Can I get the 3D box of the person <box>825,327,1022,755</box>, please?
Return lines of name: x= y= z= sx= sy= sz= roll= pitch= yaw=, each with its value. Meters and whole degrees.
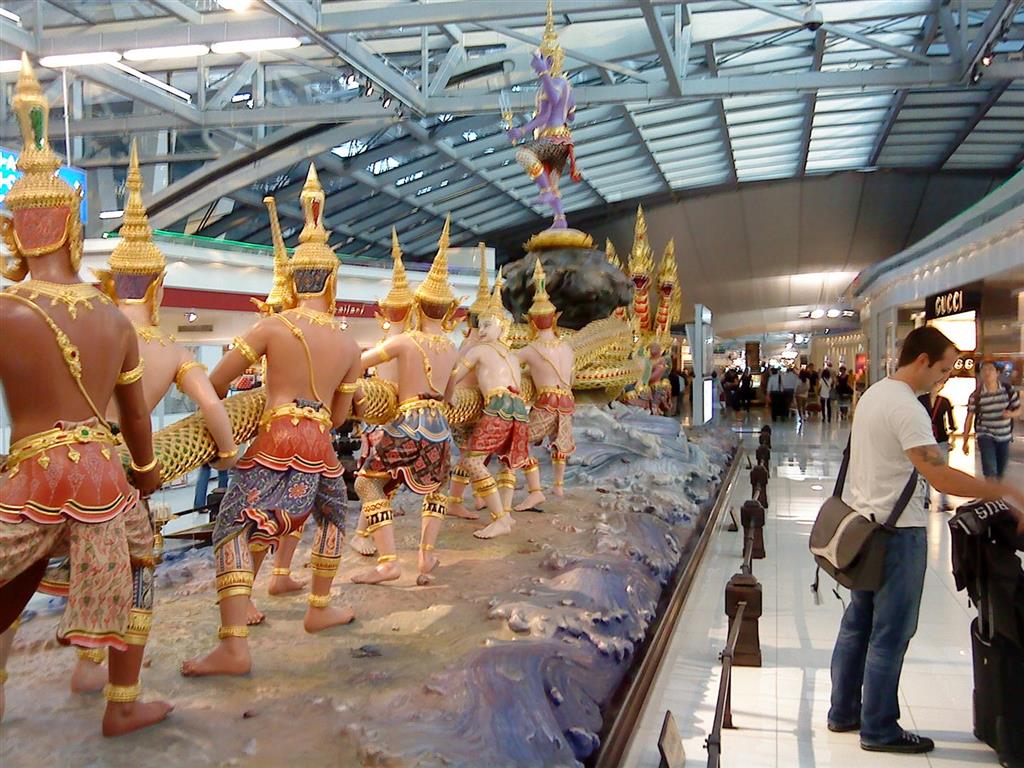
person: x=1.802 y=0.723 z=3.037 sx=0.589 sy=1.965 sz=0.555 roll=2 pitch=5 yaw=26

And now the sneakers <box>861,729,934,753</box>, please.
sneakers: x=1.777 y=1.649 z=3.102 sx=0.312 sy=0.127 sz=0.120 roll=-1 pitch=-3 yaw=4

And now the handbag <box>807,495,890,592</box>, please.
handbag: x=1.555 y=0.741 z=3.092 sx=0.207 sy=0.319 sz=0.428 roll=1 pitch=10 yaw=-1
